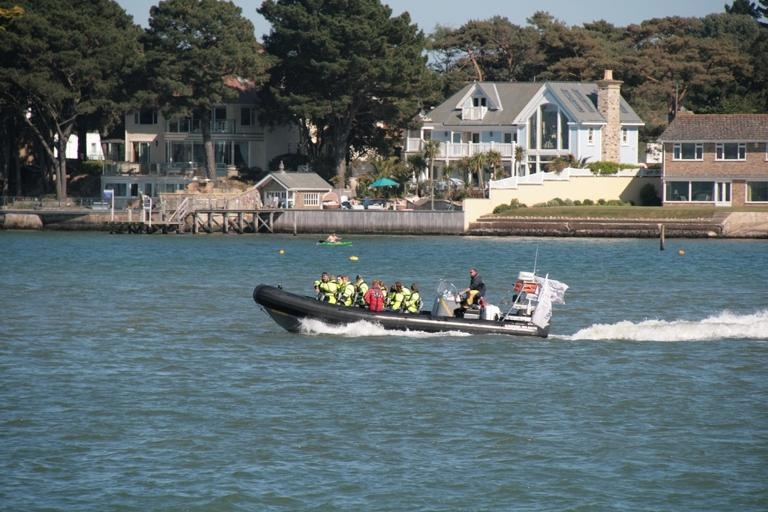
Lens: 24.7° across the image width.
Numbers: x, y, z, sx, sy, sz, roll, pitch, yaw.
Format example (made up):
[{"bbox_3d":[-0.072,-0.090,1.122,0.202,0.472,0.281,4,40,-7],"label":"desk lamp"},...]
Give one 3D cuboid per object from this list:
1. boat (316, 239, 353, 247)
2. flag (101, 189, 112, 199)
[{"bbox_3d":[-4.410,-1.120,141.262,2.802,0.448,2.951,-1,2,0],"label":"boat"},{"bbox_3d":[-25.369,-5.656,156.256,1.541,0.725,1.332,-2,0,-5],"label":"flag"}]
